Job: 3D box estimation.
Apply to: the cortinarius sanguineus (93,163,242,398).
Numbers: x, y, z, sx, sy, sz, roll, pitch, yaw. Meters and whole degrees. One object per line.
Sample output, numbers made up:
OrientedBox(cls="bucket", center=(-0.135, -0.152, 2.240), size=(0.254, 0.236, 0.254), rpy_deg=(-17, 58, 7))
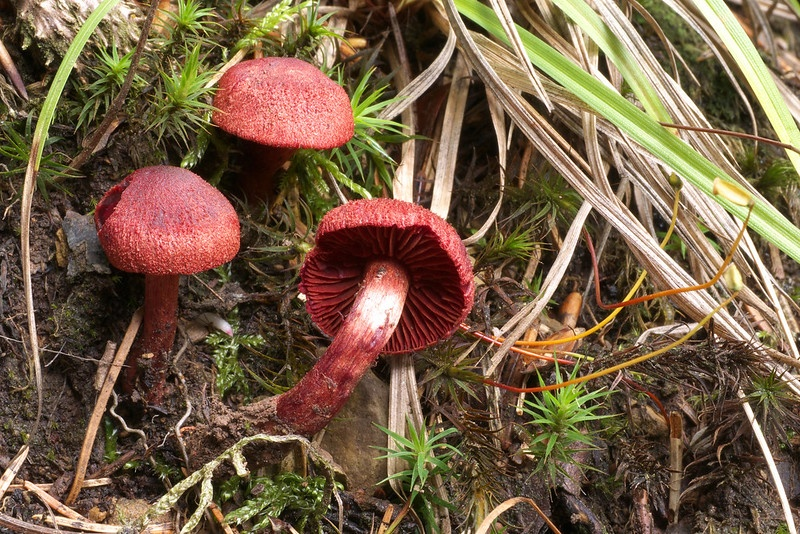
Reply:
OrientedBox(cls="cortinarius sanguineus", center=(-1.227, 0.029, 3.518), size=(0.671, 0.968, 0.593), rpy_deg=(33, 41, 10))
